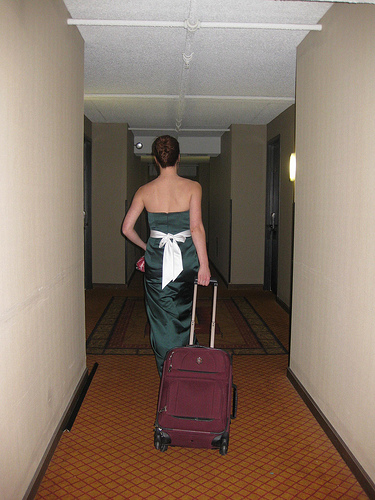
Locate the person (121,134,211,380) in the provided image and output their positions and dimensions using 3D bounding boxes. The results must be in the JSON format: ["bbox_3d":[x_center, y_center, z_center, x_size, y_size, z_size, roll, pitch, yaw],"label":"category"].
[{"bbox_3d":[-0.154,0.109,2.468,0.560,1.650,0.505,-2,9,-8],"label":"person"}]

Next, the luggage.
[{"bbox_3d":[0.040,0.772,1.876,0.378,0.436,0.371,1,4,3],"label":"luggage"}]
